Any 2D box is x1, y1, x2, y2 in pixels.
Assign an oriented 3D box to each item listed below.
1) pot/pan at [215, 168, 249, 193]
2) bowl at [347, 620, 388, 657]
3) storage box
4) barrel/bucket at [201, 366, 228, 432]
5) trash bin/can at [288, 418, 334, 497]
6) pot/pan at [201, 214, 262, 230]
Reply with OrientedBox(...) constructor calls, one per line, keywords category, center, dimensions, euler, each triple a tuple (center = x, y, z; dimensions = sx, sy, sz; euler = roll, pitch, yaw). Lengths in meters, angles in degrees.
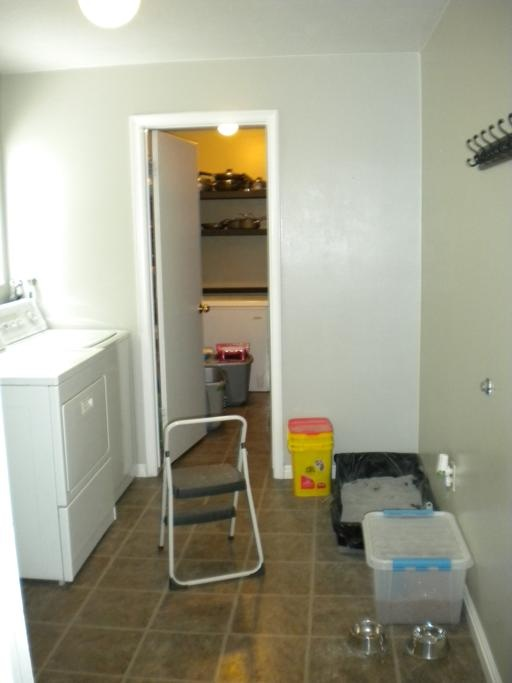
OrientedBox(category="pot/pan", center=(-0.232, -1.584, 5.533), dimensions=(0.272, 0.168, 0.311), euler=(0, 2, 1))
OrientedBox(category="bowl", center=(0.376, 0.979, 1.889), dimensions=(0.122, 0.043, 0.210), euler=(-1, 7, 11))
OrientedBox(category="storage box", center=(0.568, 0.785, 2.011), dimensions=(0.258, 0.222, 0.365), euler=(-1, -2, 6))
OrientedBox(category="barrel/bucket", center=(-0.331, 0.426, 4.531), dimensions=(0.151, 0.457, 0.553), euler=(-2, 7, -4))
OrientedBox(category="trash bin/can", center=(0.300, 0.648, 3.103), dimensions=(0.231, 0.402, 0.239), euler=(-2, 7, 2))
OrientedBox(category="pot/pan", center=(-0.231, -1.174, 5.651), dimensions=(0.624, 0.118, 0.194), euler=(-2, 7, 1))
